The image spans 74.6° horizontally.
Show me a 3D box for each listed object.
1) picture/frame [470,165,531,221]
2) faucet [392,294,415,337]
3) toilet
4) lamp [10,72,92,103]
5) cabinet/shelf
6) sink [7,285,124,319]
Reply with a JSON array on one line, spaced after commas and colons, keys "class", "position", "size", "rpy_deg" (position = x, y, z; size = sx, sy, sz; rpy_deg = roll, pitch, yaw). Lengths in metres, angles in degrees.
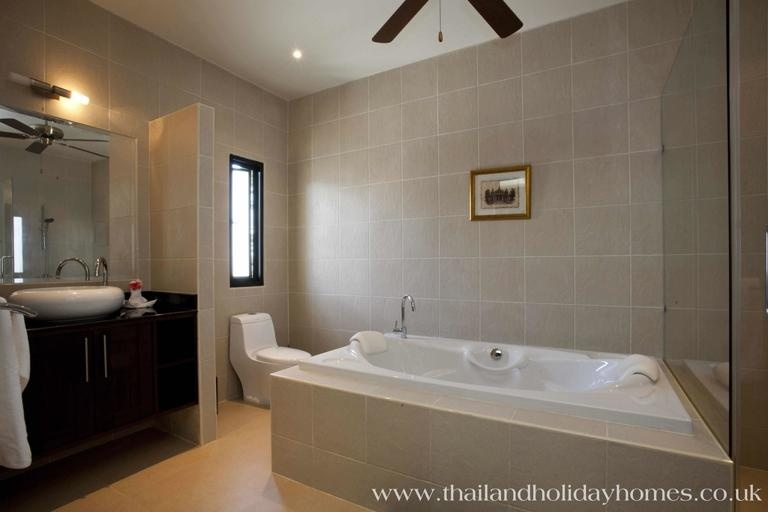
[{"class": "picture/frame", "position": [1.030, -0.544, 4.360], "size": [0.481, 0.423, 0.039], "rpy_deg": [1, 3, 28]}, {"class": "faucet", "position": [0.187, 0.538, 4.638], "size": [0.212, 0.421, 0.363], "rpy_deg": [0, 13, 2]}, {"class": "toilet", "position": [-1.056, 1.000, 4.884], "size": [0.771, 0.805, 0.497], "rpy_deg": [4, 3, 25]}, {"class": "lamp", "position": [-2.532, -1.269, 3.848], "size": [0.490, 0.124, 0.150], "rpy_deg": [21, 8, -36]}, {"class": "cabinet/shelf", "position": [-2.012, 0.824, 3.770], "size": [1.183, 0.863, 0.378], "rpy_deg": [-12, 18, -40]}, {"class": "sink", "position": [-2.196, 0.337, 3.600], "size": [0.381, 0.177, 0.408], "rpy_deg": [-1, -12, 21]}]
